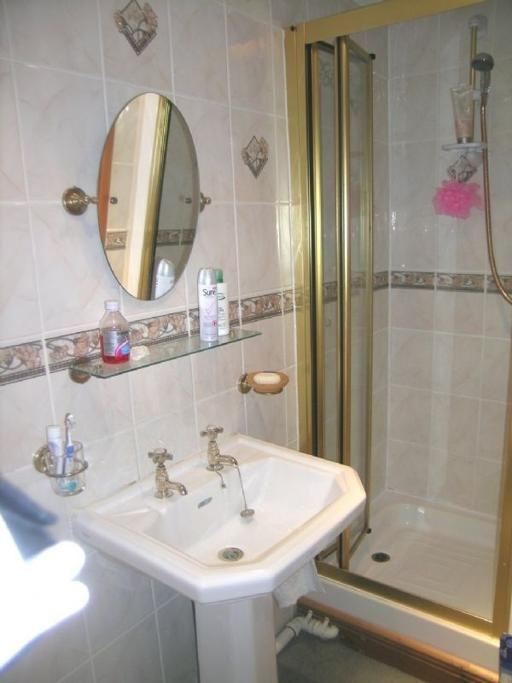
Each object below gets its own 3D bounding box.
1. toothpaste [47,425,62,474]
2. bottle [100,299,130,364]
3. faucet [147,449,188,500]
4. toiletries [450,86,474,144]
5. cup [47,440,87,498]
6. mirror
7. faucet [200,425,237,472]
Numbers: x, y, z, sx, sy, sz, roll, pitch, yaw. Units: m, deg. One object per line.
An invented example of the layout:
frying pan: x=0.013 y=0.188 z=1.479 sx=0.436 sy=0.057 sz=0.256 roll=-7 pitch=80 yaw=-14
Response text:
toothpaste: x=-0.370 y=0.208 z=0.952 sx=0.029 sy=0.011 sz=0.125 roll=4 pitch=41 yaw=-30
bottle: x=-0.293 y=-0.022 z=1.063 sx=0.053 sy=0.135 sz=0.056 roll=2 pitch=22 yaw=-1
faucet: x=-0.202 y=0.305 z=1.178 sx=0.100 sy=0.114 sz=0.060 roll=5 pitch=10 yaw=26
toiletries: x=0.638 y=-0.700 z=1.594 sx=0.031 sy=0.171 sz=0.104 roll=-3 pitch=11 yaw=-13
cup: x=-0.363 y=0.251 z=1.004 sx=0.066 sy=0.098 sz=0.065 roll=6 pitch=21 yaw=-3
mirror: x=-0.250 y=-0.326 z=1.176 sx=0.018 sy=0.462 sz=0.308 roll=6 pitch=12 yaw=30
faucet: x=-0.089 y=0.279 z=1.312 sx=0.080 sy=0.119 sz=0.080 roll=4 pitch=14 yaw=29
